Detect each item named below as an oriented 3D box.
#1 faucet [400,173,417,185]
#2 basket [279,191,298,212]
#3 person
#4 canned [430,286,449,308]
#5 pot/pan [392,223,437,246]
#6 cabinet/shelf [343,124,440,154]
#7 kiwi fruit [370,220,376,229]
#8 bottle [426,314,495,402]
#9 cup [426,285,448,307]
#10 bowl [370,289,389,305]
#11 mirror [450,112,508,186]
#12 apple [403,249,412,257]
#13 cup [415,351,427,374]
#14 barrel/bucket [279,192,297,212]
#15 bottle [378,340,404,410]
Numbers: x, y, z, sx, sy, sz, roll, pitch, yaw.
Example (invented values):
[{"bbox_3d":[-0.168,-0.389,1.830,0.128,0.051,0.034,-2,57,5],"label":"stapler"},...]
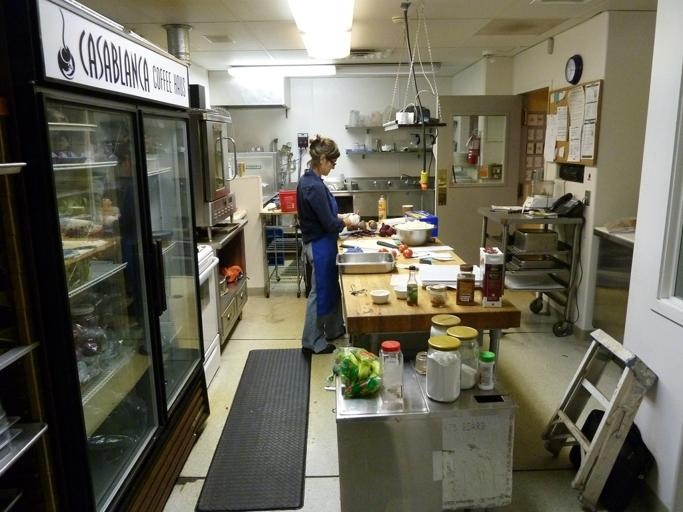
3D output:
[{"bbox_3d":[1.031,-1.161,7.708,0.282,0.151,0.224,-2,14,6],"label":"faucet"},{"bbox_3d":[-0.549,-0.592,5.435,0.204,0.215,0.249,-1,11,-3],"label":"basket"},{"bbox_3d":[-0.173,-0.094,4.255,0.412,1.765,0.680,-3,13,1],"label":"person"},{"bbox_3d":[0.540,0.224,2.797,0.107,0.110,0.088,-1,9,12],"label":"canned"},{"bbox_3d":[0.602,-0.179,4.182,0.304,0.178,0.245,-3,13,2],"label":"pot/pan"},{"bbox_3d":[0.647,-1.738,7.616,1.165,0.462,0.299,-5,13,-7],"label":"cabinet/shelf"},{"bbox_3d":[0.286,-0.288,4.584,0.054,0.053,0.062,-1,-4,-3],"label":"kiwi fruit"},{"bbox_3d":[0.516,0.465,2.418,0.333,0.322,0.258,-10,15,-25],"label":"bottle"},{"bbox_3d":[0.523,0.219,2.837,0.094,0.103,0.109,-4,5,-20],"label":"cup"},{"bbox_3d":[0.220,0.226,2.882,0.080,0.041,0.078,-2,18,1],"label":"bowl"},{"bbox_3d":[1.610,-1.228,5.901,0.708,0.975,0.036,12,22,42],"label":"mirror"},{"bbox_3d":[0.491,-0.022,3.805,0.054,0.056,0.055,-18,2,-5],"label":"apple"},{"bbox_3d":[0.384,0.540,2.566,0.079,0.079,0.081,0,0,0],"label":"cup"},{"bbox_3d":[-0.553,-0.572,5.398,0.238,0.216,0.213,-1,7,-6],"label":"barrel/bucket"},{"bbox_3d":[0.228,0.528,2.314,0.102,0.289,0.144,-2,13,4],"label":"bottle"}]
